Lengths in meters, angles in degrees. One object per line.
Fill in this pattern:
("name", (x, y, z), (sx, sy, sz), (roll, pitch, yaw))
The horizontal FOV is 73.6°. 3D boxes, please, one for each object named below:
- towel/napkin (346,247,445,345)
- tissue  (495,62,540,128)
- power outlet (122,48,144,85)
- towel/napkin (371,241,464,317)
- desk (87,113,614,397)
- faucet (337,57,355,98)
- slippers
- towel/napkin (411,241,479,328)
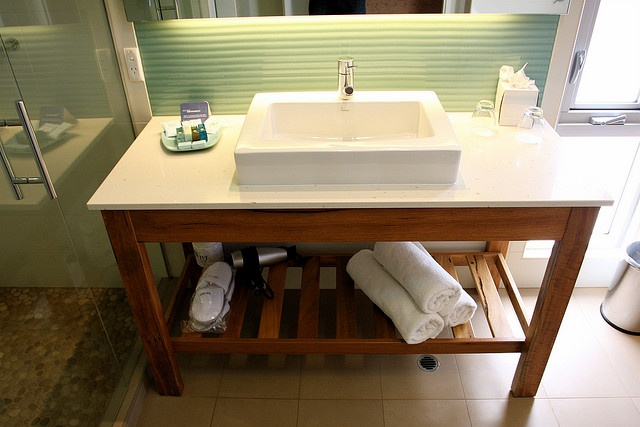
("towel/napkin", (0.354, 0.411, 2.134), (0.388, 0.136, 0.444), (-26, 50, -11))
("tissue ", (0.948, -0.563, 2.048), (0.203, 0.322, 0.183), (1, 44, 4))
("power outlet", (-0.914, -0.732, 2.111), (0.079, 0.160, 0.042), (-8, 35, -11))
("towel/napkin", (0.458, 0.313, 2.087), (0.362, 0.135, 0.347), (-23, 54, -27))
("desk", (0.142, 0.671, 2.743), (2.773, 1.658, 1.040), (0, 44, 0))
("faucet", (0.124, -0.636, 2.003), (0.071, 0.175, 0.104), (0, 34, 1))
("slippers", (-0.539, 0.425, 2.213), (0.211, 0.104, 0.302), (4, 51, 6))
("towel/napkin", (0.572, 0.390, 1.974), (0.271, 0.316, 0.103), (-41, 67, -12))
